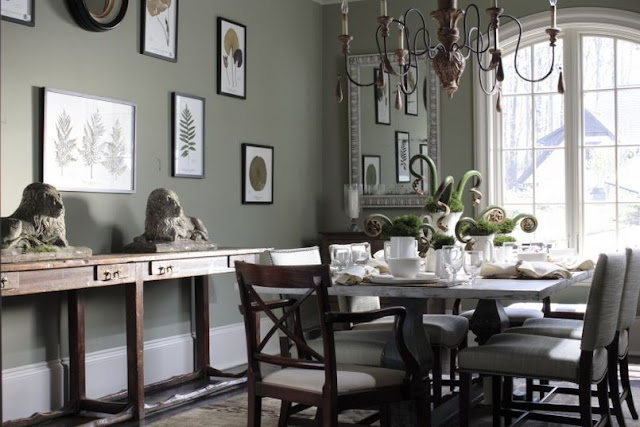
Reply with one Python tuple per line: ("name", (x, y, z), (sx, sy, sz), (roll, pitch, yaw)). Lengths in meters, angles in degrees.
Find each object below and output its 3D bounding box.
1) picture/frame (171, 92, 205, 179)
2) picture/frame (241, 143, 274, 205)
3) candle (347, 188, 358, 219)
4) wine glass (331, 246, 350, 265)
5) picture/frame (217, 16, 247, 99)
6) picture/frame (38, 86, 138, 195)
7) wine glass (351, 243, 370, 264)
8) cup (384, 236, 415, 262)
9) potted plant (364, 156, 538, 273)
("picture/frame", (-1.202, -0.708, 4.384), (0.093, 0.745, 0.385), (1, 4, 29))
("picture/frame", (-0.672, -0.421, 5.046), (0.074, 0.752, 0.619), (-2, -4, 32))
("candle", (0.396, -0.130, 5.597), (0.179, 0.378, 0.081), (-3, 4, -29))
("wine glass", (0.117, 0.253, 2.836), (0.097, 0.145, 0.105), (1, -10, 3))
("picture/frame", (-0.887, -1.545, 4.819), (0.073, 0.755, 0.408), (1, 4, 31))
("picture/frame", (-1.786, -0.553, 3.646), (0.058, 0.777, 0.842), (-4, -6, 36))
("wine glass", (0.223, 0.235, 2.928), (0.113, 0.117, 0.115), (0, 0, 43))
("cup", (0.447, 0.193, 2.804), (0.165, 0.123, 0.107), (-5, -8, 44))
("potted plant", (0.965, 0.001, 3.692), (1.079, 0.822, 1.095), (1, -4, 6))
